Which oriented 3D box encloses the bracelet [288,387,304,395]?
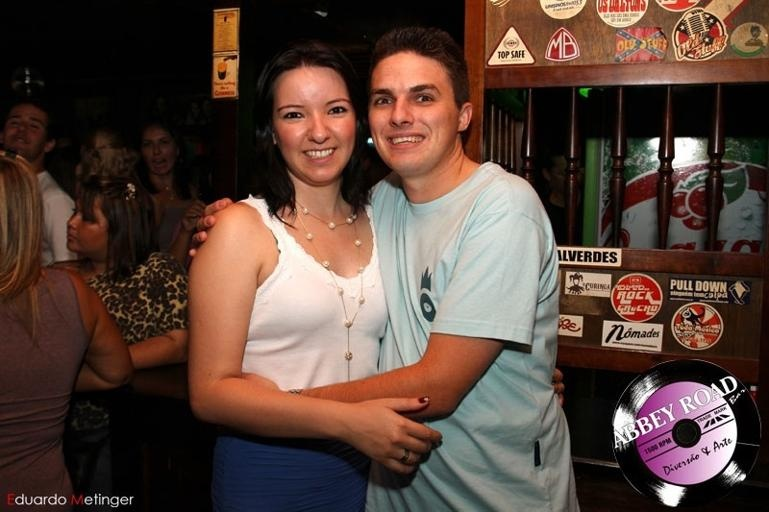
[{"bbox_3d":[-0.319,0.484,2.186,0.065,0.021,0.028,-9,-15,43],"label":"bracelet"}]

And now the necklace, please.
[{"bbox_3d":[-0.156,0.141,2.251,0.225,0.690,0.050,-3,-10,5],"label":"necklace"}]
